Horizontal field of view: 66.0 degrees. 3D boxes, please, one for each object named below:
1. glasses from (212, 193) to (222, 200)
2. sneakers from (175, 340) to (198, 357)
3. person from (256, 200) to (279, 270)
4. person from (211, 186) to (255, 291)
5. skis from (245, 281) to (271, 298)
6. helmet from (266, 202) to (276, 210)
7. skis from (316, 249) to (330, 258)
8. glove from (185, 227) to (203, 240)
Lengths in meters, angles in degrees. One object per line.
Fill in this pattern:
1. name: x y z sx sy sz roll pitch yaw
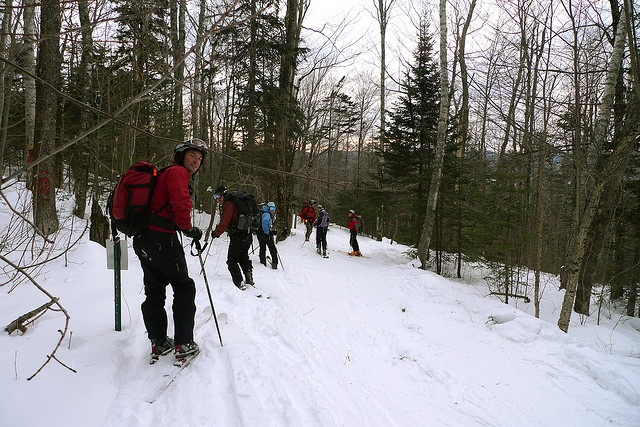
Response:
1. glasses: -2.799 -0.484 13.585 0.177 0.060 0.190 16 -29 23
2. sneakers: -2.882 2.890 10.613 0.463 0.219 0.237 -6 18 -37
3. person: -1.545 0.652 14.915 0.696 1.451 1.089 6 2 -4
4. person: -2.251 0.628 13.273 1.181 1.867 0.966 6 3 -11
5. skis: -1.614 2.006 12.944 0.280 0.055 1.046 -3 9 -41
6. helmet: -1.492 -0.243 15.167 0.199 0.243 0.257 6 -17 -31
7. skis: 0.088 1.400 17.698 0.160 0.198 0.487 3 3 -40
8. glove: -2.683 0.409 10.511 0.238 0.307 0.321 34 47 31
